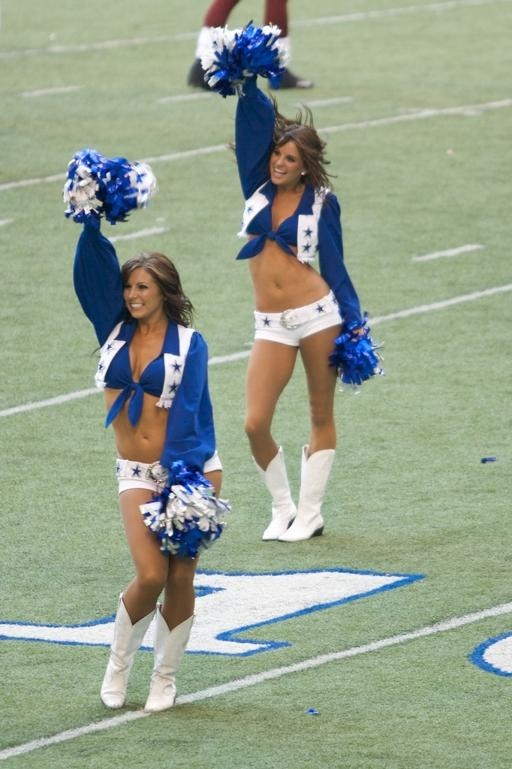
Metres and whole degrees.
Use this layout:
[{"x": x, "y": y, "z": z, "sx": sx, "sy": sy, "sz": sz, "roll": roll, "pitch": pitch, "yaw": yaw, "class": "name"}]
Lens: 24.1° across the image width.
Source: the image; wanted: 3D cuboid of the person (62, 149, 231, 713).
[{"x": -0.366, "y": 0.184, "z": 3.820, "sx": 0.491, "sy": 1.797, "sz": 0.880, "roll": -8, "pitch": 25, "yaw": -2, "class": "person"}]

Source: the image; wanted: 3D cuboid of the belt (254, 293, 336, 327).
[{"x": 0.185, "y": -0.315, "z": 5.210, "sx": 0.366, "sy": 0.129, "sz": 0.132, "roll": -7, "pitch": 24, "yaw": -4, "class": "belt"}]
